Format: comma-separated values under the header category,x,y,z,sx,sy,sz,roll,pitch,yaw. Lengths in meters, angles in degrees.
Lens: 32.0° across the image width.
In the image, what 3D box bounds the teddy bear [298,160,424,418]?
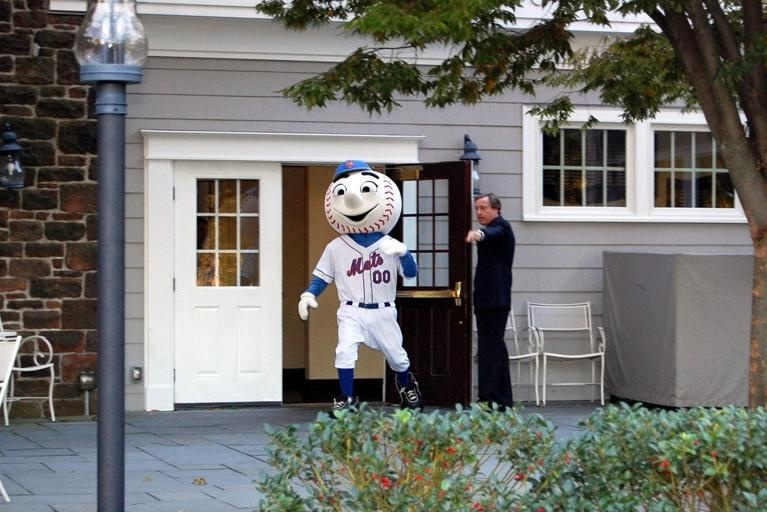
category,x,y,z,sx,sy,sz,roll,pitch,yaw
teddy bear,-0.191,0.268,12.507,1.040,2.329,0.676,-2,-5,1

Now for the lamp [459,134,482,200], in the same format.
category,x,y,z,sx,sy,sz,roll,pitch,yaw
lamp,0.926,-0.947,14.107,0.185,0.702,0.314,-3,-5,20

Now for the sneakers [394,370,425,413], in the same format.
category,x,y,z,sx,sy,sz,roll,pitch,yaw
sneakers,0.262,1.283,12.715,0.206,0.415,0.174,-13,-1,-8

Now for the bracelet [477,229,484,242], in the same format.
category,x,y,z,sx,sy,sz,roll,pitch,yaw
bracelet,0.915,-0.184,12.606,0.072,0.094,0.082,4,32,8

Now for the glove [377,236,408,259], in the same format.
category,x,y,z,sx,sy,sz,roll,pitch,yaw
glove,0.095,-0.098,12.372,0.256,0.194,0.227,-2,-5,0

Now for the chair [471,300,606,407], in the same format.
category,x,y,z,sx,sy,sz,roll,pitch,yaw
chair,1.664,1.110,14.559,1.106,1.580,1.046,1,-7,-9
